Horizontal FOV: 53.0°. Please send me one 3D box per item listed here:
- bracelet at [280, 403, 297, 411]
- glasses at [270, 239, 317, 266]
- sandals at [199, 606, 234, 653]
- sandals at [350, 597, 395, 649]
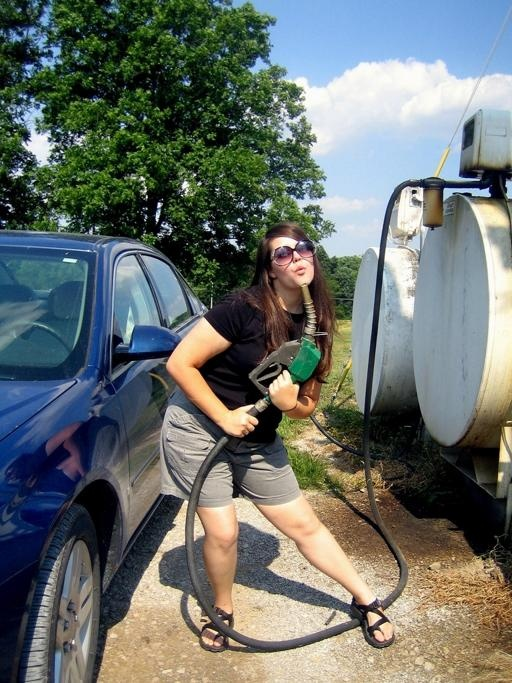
[{"bbox_3d":[0.106,0.224,1.775,0.038,0.025,0.048,-4,10,1],"label":"bracelet"},{"bbox_3d":[0.134,-0.316,1.835,0.167,0.105,0.105,2,3,-5],"label":"glasses"},{"bbox_3d":[-0.159,1.100,1.955,0.109,0.103,0.294,2,-14,4],"label":"sandals"},{"bbox_3d":[0.436,1.087,2.077,0.111,0.099,0.242,-6,17,-22],"label":"sandals"}]
